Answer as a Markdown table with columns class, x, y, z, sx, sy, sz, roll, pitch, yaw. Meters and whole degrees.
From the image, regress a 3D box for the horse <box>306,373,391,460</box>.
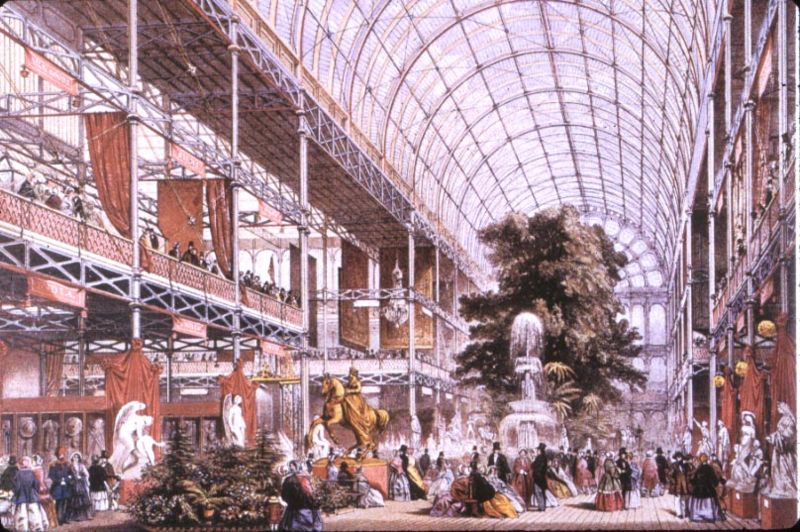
| class | x | y | z | sx | sy | sz | roll | pitch | yaw |
| --- | --- | --- | --- | --- | --- | --- | --- | --- | --- |
| horse | -2.089 | 6.137 | 58.590 | 4.018 | 3.506 | 1.590 | 10 | -4 | -34 |

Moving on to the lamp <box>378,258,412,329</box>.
| class | x | y | z | sx | sy | sz | roll | pitch | yaw |
| --- | --- | --- | --- | --- | --- | --- | --- | --- | --- |
| lamp | -0.245 | 1.979 | 80.096 | 1.568 | 2.975 | 2.796 | -2 | -12 | -8 |
